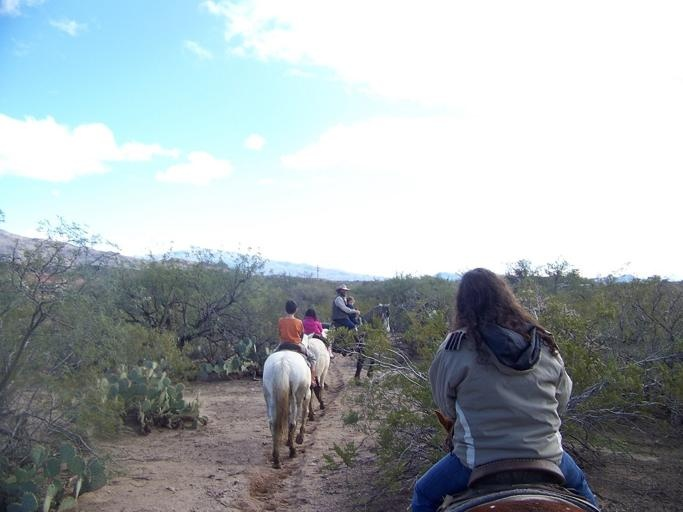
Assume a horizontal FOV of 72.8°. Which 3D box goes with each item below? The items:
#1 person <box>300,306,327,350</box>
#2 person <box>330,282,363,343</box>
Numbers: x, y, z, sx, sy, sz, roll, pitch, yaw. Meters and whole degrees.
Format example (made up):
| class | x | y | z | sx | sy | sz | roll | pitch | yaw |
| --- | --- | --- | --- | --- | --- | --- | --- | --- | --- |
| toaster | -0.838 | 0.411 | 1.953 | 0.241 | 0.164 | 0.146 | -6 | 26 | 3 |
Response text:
| class | x | y | z | sx | sy | sz | roll | pitch | yaw |
| --- | --- | --- | --- | --- | --- | --- | --- | --- | --- |
| person | -0.746 | 1.936 | 12.327 | 0.279 | 1.097 | 1.013 | -8 | 4 | 12 |
| person | 0.125 | 1.766 | 14.079 | 0.737 | 1.772 | 0.700 | 3 | 2 | 18 |
